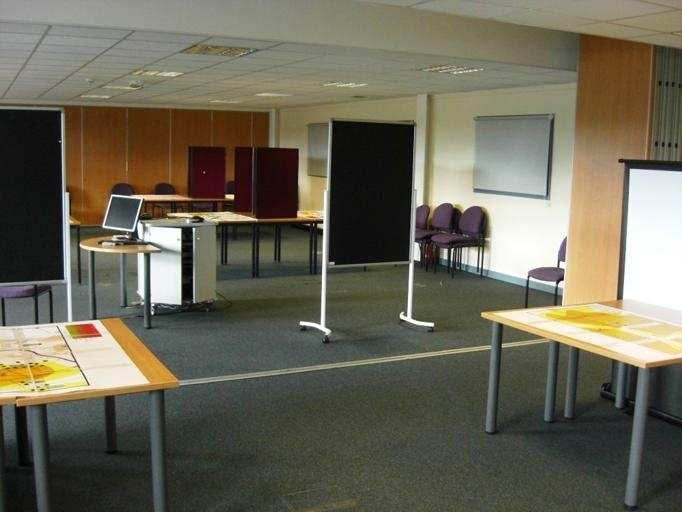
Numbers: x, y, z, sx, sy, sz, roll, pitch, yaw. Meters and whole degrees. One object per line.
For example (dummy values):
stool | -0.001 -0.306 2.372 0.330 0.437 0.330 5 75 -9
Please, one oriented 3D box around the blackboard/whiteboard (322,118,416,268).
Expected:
blackboard/whiteboard | 0.342 -0.714 6.361 1.057 1.607 0.182 -5 13 -28

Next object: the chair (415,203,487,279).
chair | 2.020 -0.277 10.048 0.671 0.959 1.363 -3 7 -24
